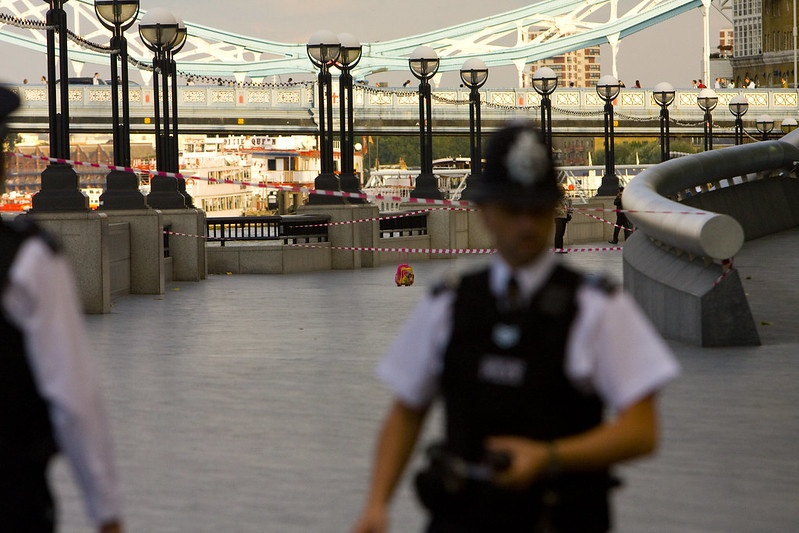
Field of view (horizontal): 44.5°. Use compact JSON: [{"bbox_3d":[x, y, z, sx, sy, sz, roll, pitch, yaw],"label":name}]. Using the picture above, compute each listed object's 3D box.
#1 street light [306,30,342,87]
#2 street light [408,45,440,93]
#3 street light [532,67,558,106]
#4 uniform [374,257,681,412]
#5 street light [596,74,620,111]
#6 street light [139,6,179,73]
[{"bbox_3d":[-1.792,-4.976,22.986,0.746,1.000,1.230,3,2,-6],"label":"street light"},{"bbox_3d":[0.650,-5.431,26.376,0.745,1.021,1.365,3,2,-1],"label":"street light"},{"bbox_3d":[4.894,-6.170,33.244,0.727,1.300,2.009,3,2,7],"label":"street light"},{"bbox_3d":[0.640,0.286,4.209,1.174,0.743,0.344,0,3,13],"label":"uniform"},{"bbox_3d":[7.067,-6.055,33.297,0.652,1.090,2.036,4,2,8],"label":"street light"},{"bbox_3d":[-5.066,-4.725,20.528,0.982,1.518,1.033,-1,0,-21],"label":"street light"}]
